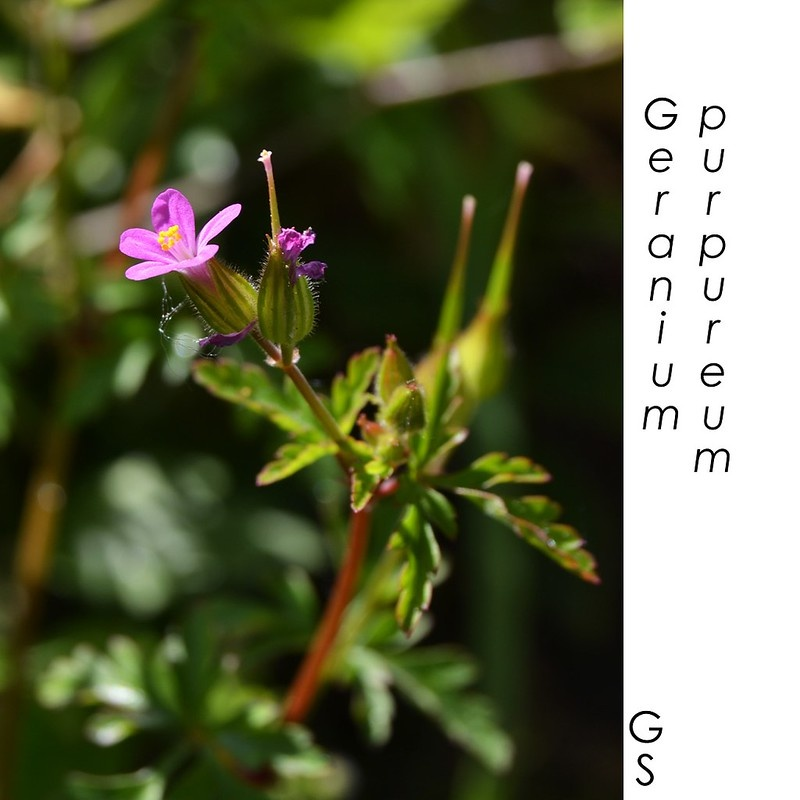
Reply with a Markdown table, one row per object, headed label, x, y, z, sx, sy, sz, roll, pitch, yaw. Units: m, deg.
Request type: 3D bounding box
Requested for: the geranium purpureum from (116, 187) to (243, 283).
| label | x | y | z | sx | sy | sz | roll | pitch | yaw |
| --- | --- | --- | --- | --- | --- | --- | --- | --- | --- |
| geranium purpureum | -0.348 | -0.245 | 1.417 | 0.164 | 0.140 | 0.176 | -25 | 28 | -34 |
